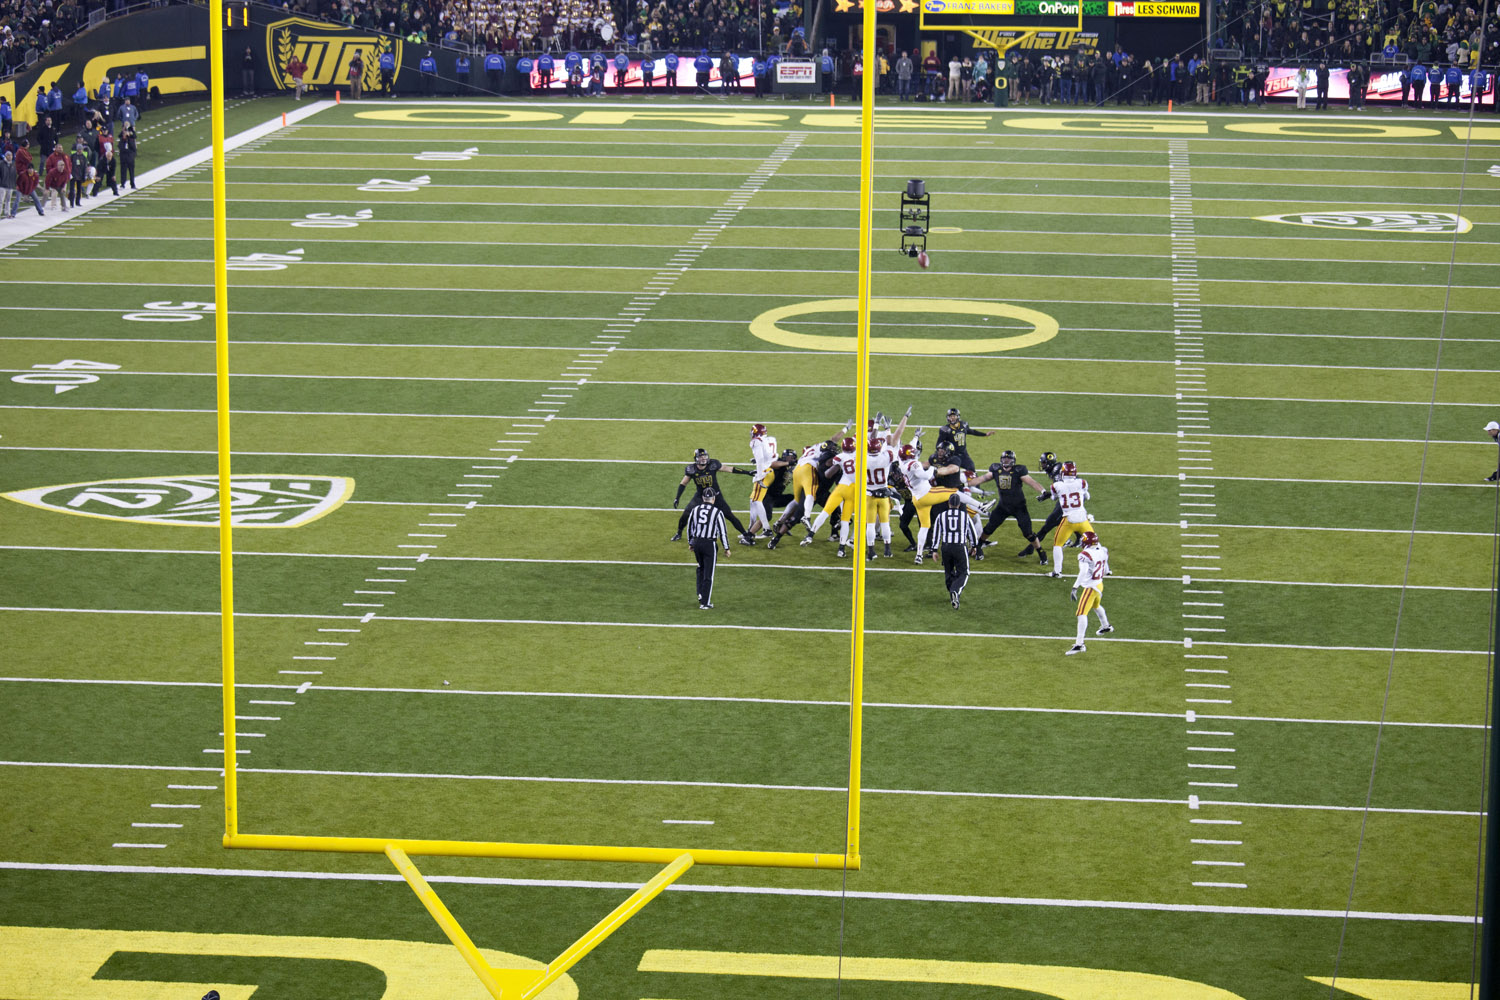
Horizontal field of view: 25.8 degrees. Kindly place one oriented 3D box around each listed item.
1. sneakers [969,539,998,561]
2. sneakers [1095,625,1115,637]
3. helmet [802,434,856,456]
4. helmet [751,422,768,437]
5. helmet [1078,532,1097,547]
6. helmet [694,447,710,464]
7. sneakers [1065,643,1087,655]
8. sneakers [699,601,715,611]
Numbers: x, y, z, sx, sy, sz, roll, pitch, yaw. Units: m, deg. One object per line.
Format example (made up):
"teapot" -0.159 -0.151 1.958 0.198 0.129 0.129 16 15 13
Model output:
"sneakers" 2.404 0.542 33.821 0.130 0.203 0.330 7 28 14
"sneakers" 3.447 1.292 31.938 0.156 0.100 0.088 0 9 4
"helmet" 0.810 -0.538 33.709 0.371 0.106 0.259 4 9 28
"helmet" 0.116 -0.693 33.883 0.184 0.125 0.130 -9 13 -21
"helmet" 3.306 0.405 31.954 0.146 0.107 0.155 -1 -5 -14
"helmet" -0.473 -0.398 32.506 0.150 0.118 0.157 -2 9 -3
"sneakers" 3.148 1.458 31.649 0.193 0.096 0.161 0 9 1
"sneakers" -0.432 1.064 32.428 0.125 0.068 0.118 -1 9 -5
